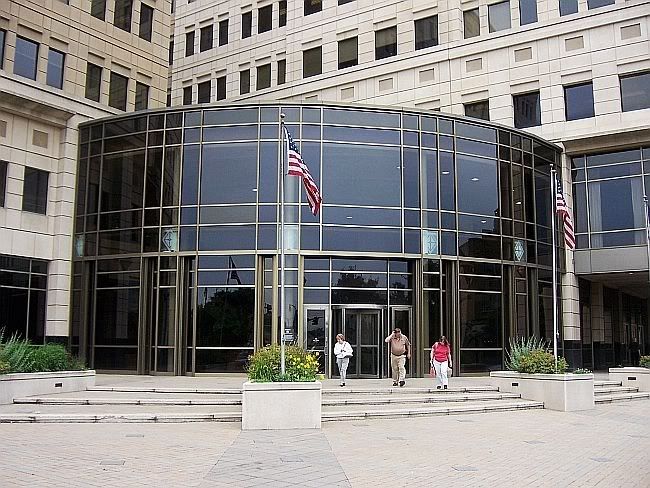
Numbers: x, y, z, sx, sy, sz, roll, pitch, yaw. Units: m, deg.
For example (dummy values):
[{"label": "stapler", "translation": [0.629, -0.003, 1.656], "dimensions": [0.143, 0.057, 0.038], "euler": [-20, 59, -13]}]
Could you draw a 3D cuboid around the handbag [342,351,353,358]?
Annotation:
[{"label": "handbag", "translation": [0.944, 4.422, 23.210], "dimensions": [0.206, 0.241, 0.540], "euler": [-6, -11, 26]}]

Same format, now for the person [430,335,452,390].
[{"label": "person", "translation": [4.399, 4.506, 22.074], "dimensions": [0.660, 1.928, 1.143], "euler": [-3, -10, 10]}]

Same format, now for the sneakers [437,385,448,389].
[{"label": "sneakers", "translation": [4.366, 5.341, 21.572], "dimensions": [0.278, 0.101, 0.179], "euler": [2, -6, -5]}]

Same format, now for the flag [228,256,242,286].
[{"label": "flag", "translation": [-4.018, 1.237, 26.053], "dimensions": [0.529, 1.243, 0.046], "euler": [-2, -10, 3]}]

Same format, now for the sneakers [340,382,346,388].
[{"label": "sneakers", "translation": [0.701, 5.443, 22.376], "dimensions": [0.132, 0.138, 0.332], "euler": [-3, -13, 13]}]
